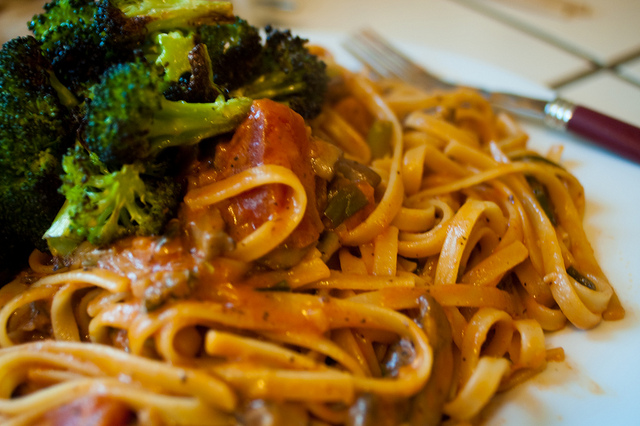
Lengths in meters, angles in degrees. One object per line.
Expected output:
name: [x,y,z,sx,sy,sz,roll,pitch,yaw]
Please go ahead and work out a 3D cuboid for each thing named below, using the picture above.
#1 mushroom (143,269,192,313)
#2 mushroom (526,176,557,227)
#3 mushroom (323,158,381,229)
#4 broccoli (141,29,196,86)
mushroom: [-0.698,0.344,2.906,0.209,0.160,0.059,-38,102,-28]
mushroom: [1.230,-0.101,3.546,0.086,0.026,0.365,-13,55,-1]
mushroom: [0.149,-0.146,3.256,0.244,0.091,0.361,31,49,-5]
broccoli: [-0.765,-0.771,3.183,0.294,0.079,0.332,14,70,-15]
